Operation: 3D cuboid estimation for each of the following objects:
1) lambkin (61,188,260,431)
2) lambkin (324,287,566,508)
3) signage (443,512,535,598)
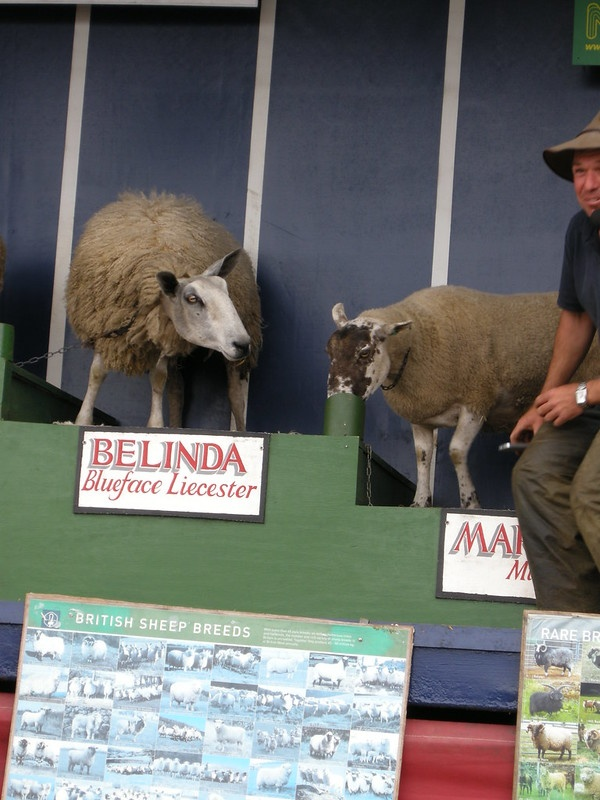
[{"bbox_3d":[-0.573,-0.368,4.721,0.669,0.927,0.790,4,4,-11],"label":"lambkin"},{"bbox_3d":[0.696,-0.011,4.805,1.397,0.798,0.470,-11,8,-35],"label":"lambkin"},{"bbox_3d":[0.524,0.436,3.332,0.286,0.225,0.027,1,-23,4],"label":"signage"}]
